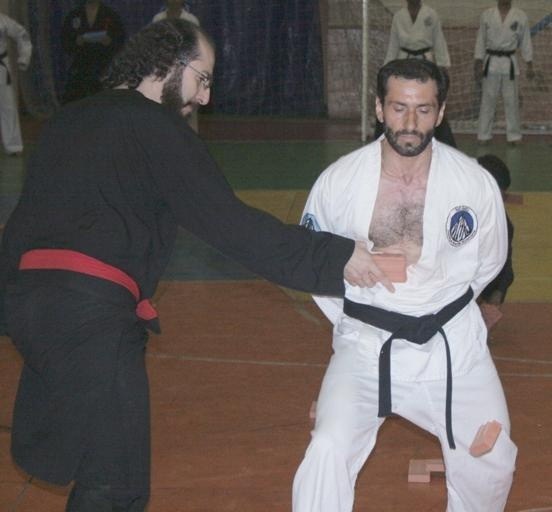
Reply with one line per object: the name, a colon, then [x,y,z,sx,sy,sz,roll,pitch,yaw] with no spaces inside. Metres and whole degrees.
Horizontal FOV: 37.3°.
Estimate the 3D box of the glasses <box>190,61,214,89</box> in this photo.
glasses: [-0.222,-0.522,2.345,0.058,0.017,0.056,40,5,5]
